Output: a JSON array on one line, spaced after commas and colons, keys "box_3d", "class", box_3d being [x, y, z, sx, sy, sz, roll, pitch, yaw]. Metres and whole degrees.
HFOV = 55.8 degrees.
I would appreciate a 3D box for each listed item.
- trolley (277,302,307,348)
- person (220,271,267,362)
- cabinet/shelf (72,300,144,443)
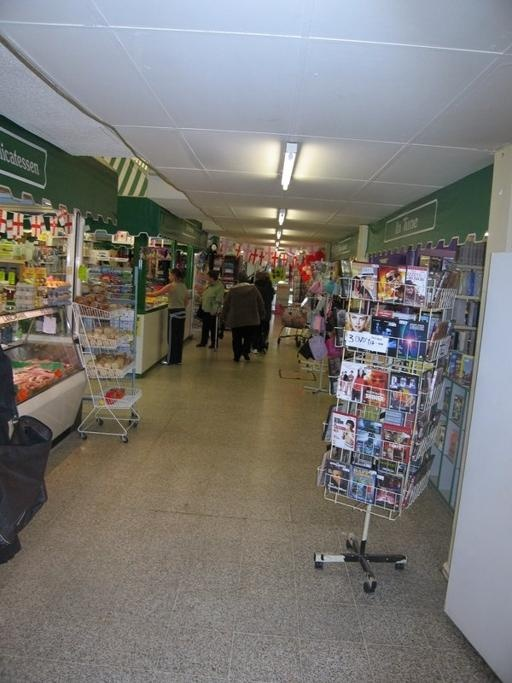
[{"box_3d": [0.866, -0.423, 11.846, 0.728, 0.904, 0.705, -3, 10, -29], "class": "trolley"}, {"box_3d": [-0.237, -0.477, 9.810, 0.777, 1.758, 0.970, 6, 8, 7], "class": "person"}, {"box_3d": [-1.585, 0.264, 5.206, 0.636, 1.442, 0.738, 0, 5, -3], "class": "cabinet/shelf"}]
